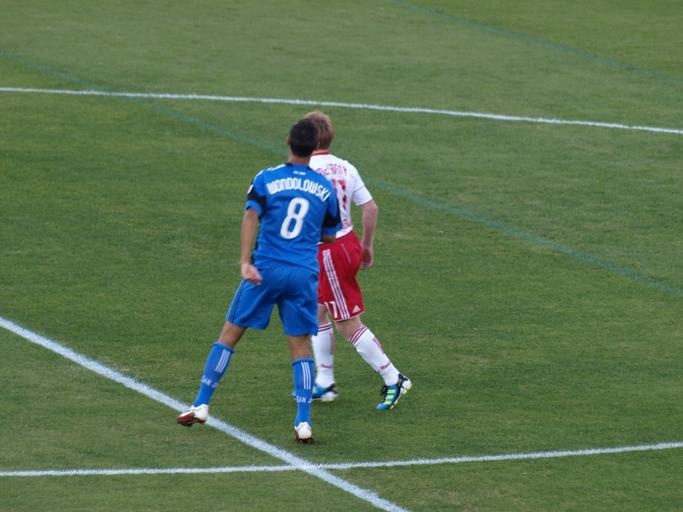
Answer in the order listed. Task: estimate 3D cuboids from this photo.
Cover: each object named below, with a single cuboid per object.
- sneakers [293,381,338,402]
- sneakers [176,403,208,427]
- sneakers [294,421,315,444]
[{"bbox_3d":[-0.267,1.316,18.283,0.470,0.181,0.157,3,-5,-4],"label":"sneakers"},{"bbox_3d":[-1.448,1.472,17.555,0.364,0.159,0.136,-6,-11,10],"label":"sneakers"},{"bbox_3d":[-0.357,1.610,17.634,0.182,0.200,0.176,5,30,-6],"label":"sneakers"}]
